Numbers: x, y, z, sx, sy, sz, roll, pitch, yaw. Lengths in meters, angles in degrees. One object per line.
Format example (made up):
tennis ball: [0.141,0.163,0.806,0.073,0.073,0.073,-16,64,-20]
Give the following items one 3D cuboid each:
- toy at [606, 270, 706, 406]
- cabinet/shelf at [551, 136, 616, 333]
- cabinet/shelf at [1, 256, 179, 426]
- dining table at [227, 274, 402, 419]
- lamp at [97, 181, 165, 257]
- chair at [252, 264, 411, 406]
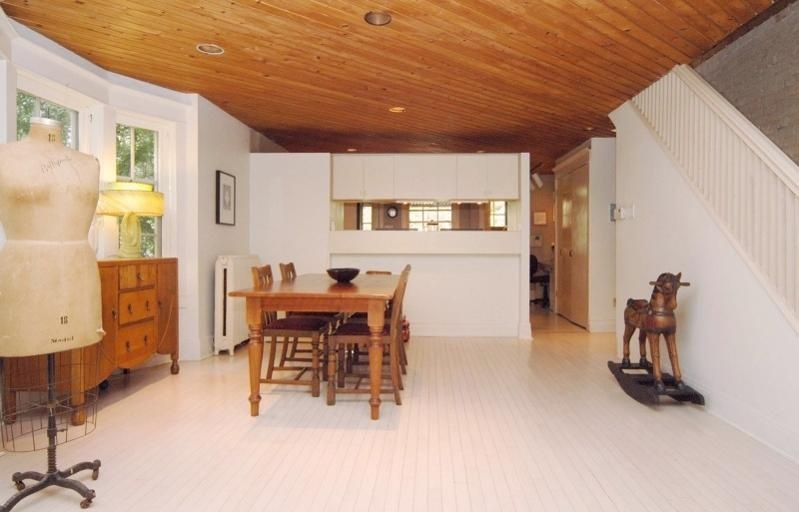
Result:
toy: [2.345,0.726,4.994,0.566,1.169,0.687,-1,0,-6]
cabinet/shelf: [2.668,-0.305,7.961,0.390,2.651,1.324,-1,1,-8]
cabinet/shelf: [-2.525,0.697,4.375,0.606,1.157,1.410,0,-1,5]
dining table: [-0.692,0.438,4.887,1.091,0.853,1.860,0,0,1]
lamp: [-2.553,-0.357,5.339,0.694,0.759,0.678,-1,-3,21]
chair: [-0.639,0.690,5.007,1.202,0.946,1.730,0,2,4]
